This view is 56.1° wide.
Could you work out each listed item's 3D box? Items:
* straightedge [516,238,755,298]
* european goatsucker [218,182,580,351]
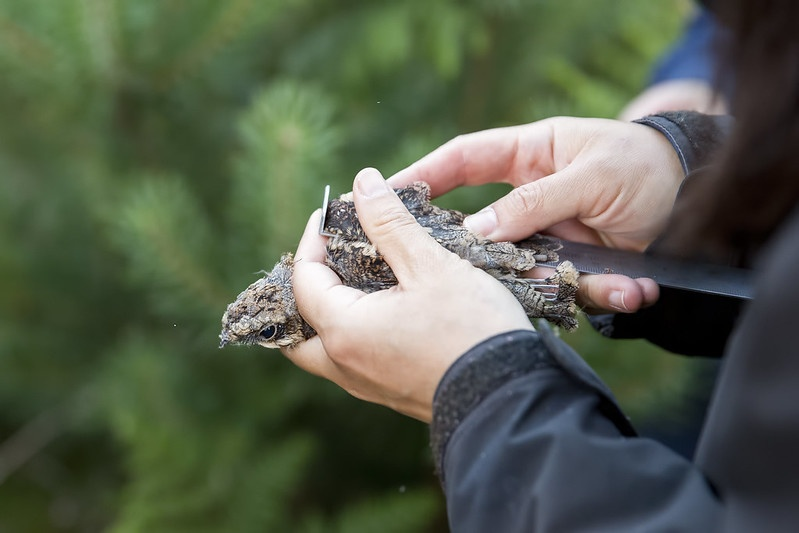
[{"bbox_3d":[0.782,0.010,2.478,1.002,0.024,0.159,7,67,4],"label":"straightedge"},{"bbox_3d":[-0.058,0.062,2.660,1.254,0.530,0.572,-24,100,14],"label":"european goatsucker"}]
